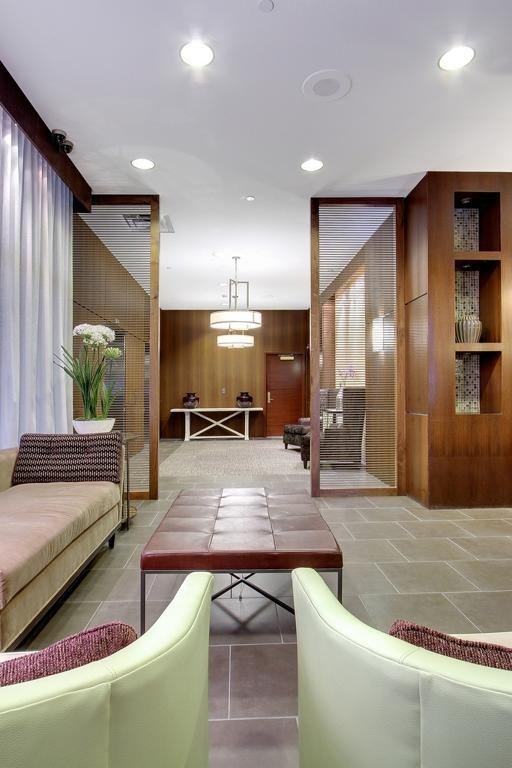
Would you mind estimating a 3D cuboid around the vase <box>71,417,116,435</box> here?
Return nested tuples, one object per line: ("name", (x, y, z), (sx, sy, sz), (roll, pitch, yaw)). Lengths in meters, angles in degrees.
("vase", (-1.003, 0.250, 3.105), (0.225, 0.081, 0.149), (-1, 0, -14))

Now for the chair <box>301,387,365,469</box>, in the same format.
("chair", (0.678, 0.420, 4.659), (0.522, 0.877, 0.564), (0, -6, 2))

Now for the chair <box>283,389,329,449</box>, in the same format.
("chair", (0.602, 0.600, 7.576), (0.731, 0.918, 0.608), (2, -4, -13))

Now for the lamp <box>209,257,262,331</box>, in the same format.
("lamp", (-0.280, -1.286, 7.153), (0.625, 1.054, 0.684), (-5, -4, 12))

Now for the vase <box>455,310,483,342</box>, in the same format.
("vase", (1.609, -0.426, 3.914), (0.194, 0.250, 0.211), (0, -6, 3))

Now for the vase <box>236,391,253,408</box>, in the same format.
("vase", (-0.205, 0.280, 9.365), (0.247, 0.241, 0.271), (-6, 9, -37))

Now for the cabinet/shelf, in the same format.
("cabinet/shelf", (1.665, -0.596, 3.916), (0.305, 1.631, 0.364), (-1, -1, 2))
